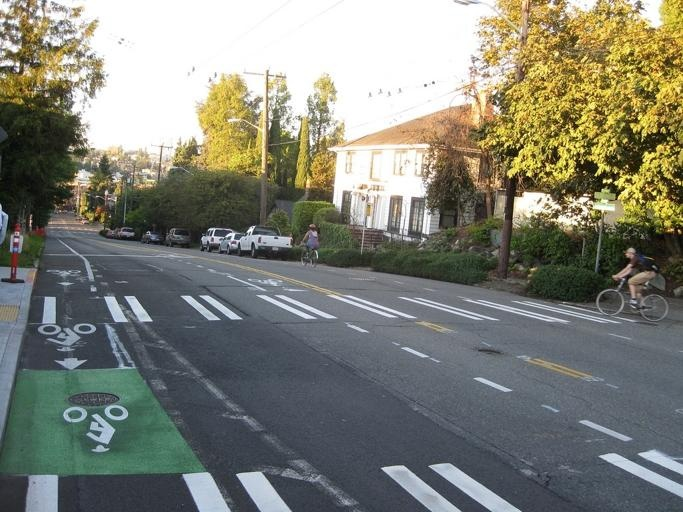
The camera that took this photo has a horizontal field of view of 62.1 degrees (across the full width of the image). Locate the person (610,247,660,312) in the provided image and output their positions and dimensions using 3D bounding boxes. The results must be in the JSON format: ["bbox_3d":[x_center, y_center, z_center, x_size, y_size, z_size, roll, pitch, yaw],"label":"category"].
[{"bbox_3d":[8.823,0.675,16.964,1.164,1.754,0.832,-1,6,-31],"label":"person"}]

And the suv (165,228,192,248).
[{"bbox_3d":[-17.561,-2.064,61.081,1.508,1.547,3.427,0,7,-18],"label":"suv"}]

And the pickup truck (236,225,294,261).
[{"bbox_3d":[-5.455,-0.913,38.424,2.358,2.181,5.231,4,-1,-26],"label":"pickup truck"}]

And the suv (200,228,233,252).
[{"bbox_3d":[-11.369,-1.428,50.059,1.694,1.706,3.748,0,7,-18],"label":"suv"}]
